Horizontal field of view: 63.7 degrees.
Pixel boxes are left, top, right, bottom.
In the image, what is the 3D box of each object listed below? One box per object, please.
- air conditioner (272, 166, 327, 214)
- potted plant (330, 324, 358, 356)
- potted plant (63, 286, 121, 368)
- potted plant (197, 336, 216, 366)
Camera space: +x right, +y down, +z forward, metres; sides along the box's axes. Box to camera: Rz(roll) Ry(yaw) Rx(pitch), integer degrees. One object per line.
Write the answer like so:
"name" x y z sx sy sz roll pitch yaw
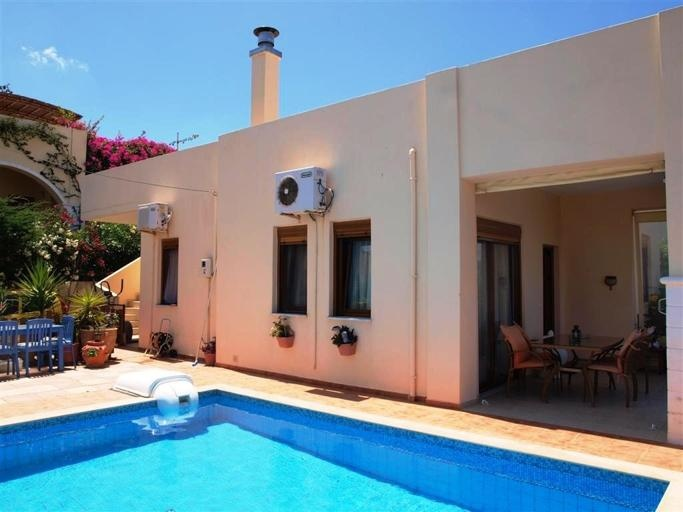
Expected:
"air conditioner" -0.738 -1.149 10.133 0.916 0.817 0.586 -2 -2 28
"potted plant" 0.037 1.449 9.425 0.429 0.516 0.469 -2 -10 13
"potted plant" -5.166 1.581 11.574 0.843 1.457 1.348 -8 14 -28
"potted plant" -2.778 2.059 11.638 0.441 0.725 0.487 -1 -9 7
